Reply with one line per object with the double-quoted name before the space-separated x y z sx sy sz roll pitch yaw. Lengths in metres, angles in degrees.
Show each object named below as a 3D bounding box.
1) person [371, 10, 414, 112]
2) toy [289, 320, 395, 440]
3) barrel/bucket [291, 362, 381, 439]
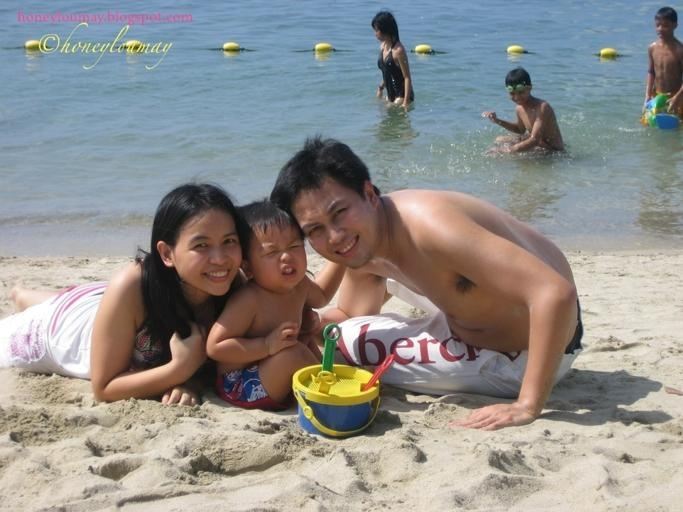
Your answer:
"person" 0.745 -2.926 13.002 0.495 1.398 0.657 -5 15 4
"toy" -0.039 0.756 5.554 0.821 0.640 0.600 2 18 2
"barrel/bucket" -0.057 0.898 5.425 0.525 0.202 0.442 2 18 0
